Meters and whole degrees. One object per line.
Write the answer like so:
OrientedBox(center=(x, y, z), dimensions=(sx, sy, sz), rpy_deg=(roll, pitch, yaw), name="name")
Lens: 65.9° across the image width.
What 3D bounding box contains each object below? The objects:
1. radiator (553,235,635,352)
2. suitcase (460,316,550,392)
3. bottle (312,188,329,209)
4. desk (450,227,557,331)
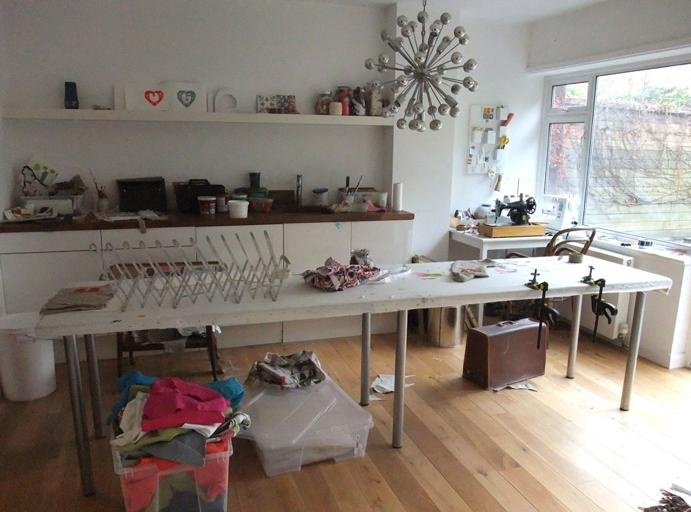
OrientedBox(center=(2.250, 0.341, 4.768), dimensions=(0.285, 0.913, 0.978), rpy_deg=(-7, 13, -23), name="radiator")
OrientedBox(center=(1.421, 0.825, 4.714), dimensions=(0.706, 0.498, 0.360), rpy_deg=(-5, 11, -30), name="suitcase")
OrientedBox(center=(-0.266, -0.617, 5.668), dimensions=(0.187, 0.197, 0.185), rpy_deg=(-5, 17, -20), name="bottle")
OrientedBox(center=(1.701, 0.124, 6.219), dimensions=(1.097, 1.015, 1.022), rpy_deg=(-5, 14, -15), name="desk")
